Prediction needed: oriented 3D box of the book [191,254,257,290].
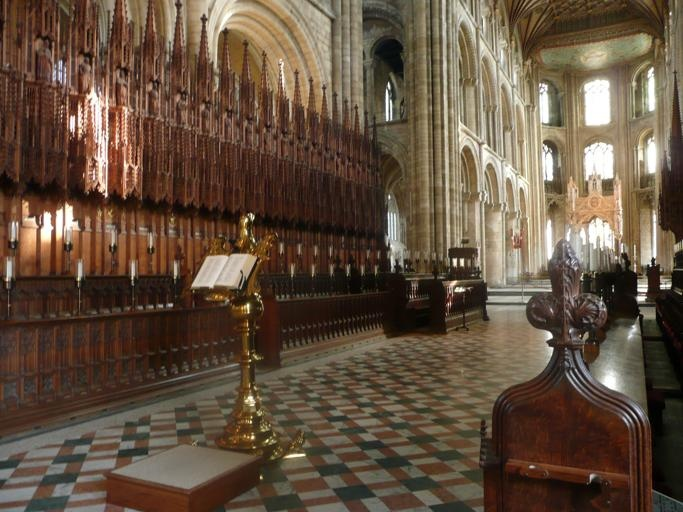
[{"bbox_3d":[-1.092,0.116,5.647,0.428,0.157,0.649,18,-11,-10],"label":"book"}]
